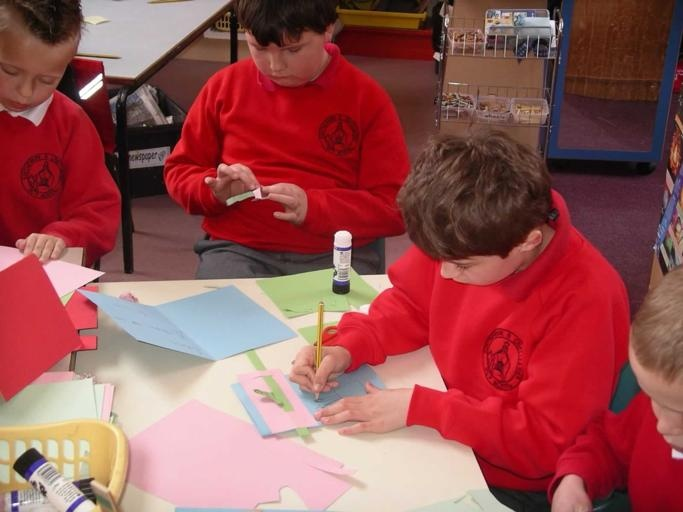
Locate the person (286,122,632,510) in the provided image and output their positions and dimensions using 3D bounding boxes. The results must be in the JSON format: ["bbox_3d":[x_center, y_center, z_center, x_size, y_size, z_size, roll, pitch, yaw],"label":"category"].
[{"bbox_3d":[0.236,0.155,1.355,0.523,0.909,0.491,-15,40,-7],"label":"person"}]
